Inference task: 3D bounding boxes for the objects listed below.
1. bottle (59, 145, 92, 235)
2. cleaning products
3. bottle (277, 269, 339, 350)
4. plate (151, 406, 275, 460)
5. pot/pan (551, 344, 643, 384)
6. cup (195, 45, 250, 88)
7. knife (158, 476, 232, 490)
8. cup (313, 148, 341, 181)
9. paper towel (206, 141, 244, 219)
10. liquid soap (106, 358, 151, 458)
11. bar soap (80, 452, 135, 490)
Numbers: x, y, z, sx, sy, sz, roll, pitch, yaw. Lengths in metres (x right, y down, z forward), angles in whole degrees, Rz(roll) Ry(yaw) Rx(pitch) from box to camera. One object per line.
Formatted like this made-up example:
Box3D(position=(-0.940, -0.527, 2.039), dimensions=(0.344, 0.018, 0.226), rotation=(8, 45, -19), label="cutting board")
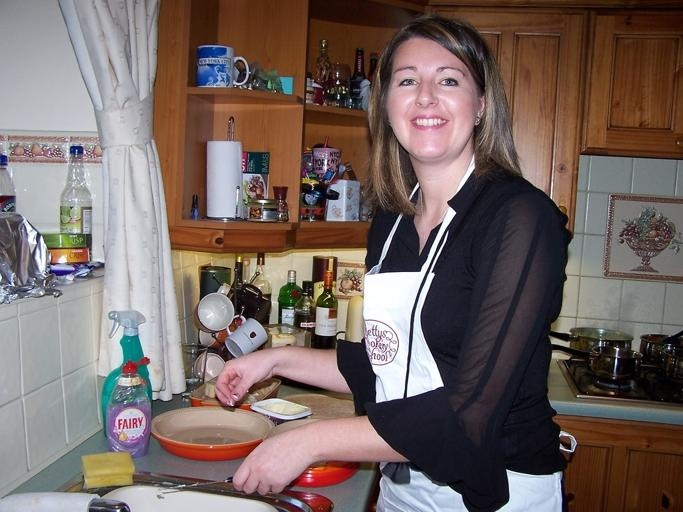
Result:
Box3D(position=(-0.764, -0.179, 1.557), dimensions=(0.093, 0.266, 0.086), rotation=(5, 15, -1), label="bottle")
Box3D(position=(-0.565, 0.292, 1.475), dimensions=(0.115, 0.376, 0.129), rotation=(4, 14, 5), label="cleaning products")
Box3D(position=(-0.142, 0.232, 2.360), dimensions=(0.181, 0.334, 0.193), rotation=(5, 9, -1), label="bottle")
Box3D(position=(-0.361, 0.476, 1.476), dimensions=(0.322, 0.052, 0.328), rotation=(0, -6, 12), label="plate")
Box3D(position=(1.074, 0.447, 2.384), dimensions=(0.421, 0.118, 0.179), rotation=(2, 5, 37), label="pot/pan")
Box3D(position=(-0.413, -0.631, 1.847), dimensions=(0.194, 0.133, 0.122), rotation=(-2, 7, -25), label="cup")
Box3D(position=(-0.338, 0.534, 1.267), dimensions=(0.148, 0.017, 0.047), rotation=(-1, 5, 0), label="knife")
Box3D(position=(-0.059, -0.359, 2.137), dimensions=(0.112, 0.107, 0.127), rotation=(0, -4, 4), label="cup")
Box3D(position=(-0.414, -0.263, 1.879), dimensions=(0.137, 0.263, 0.142), rotation=(1, 1, -22), label="paper towel")
Box3D(position=(-0.547, 0.386, 1.384), dimensions=(0.109, 0.260, 0.058), rotation=(1, 13, -10), label="liquid soap")
Box3D(position=(-0.547, 0.495, 1.253), dimensions=(0.107, 0.063, 0.090), rotation=(-3, 7, -27), label="bar soap")
